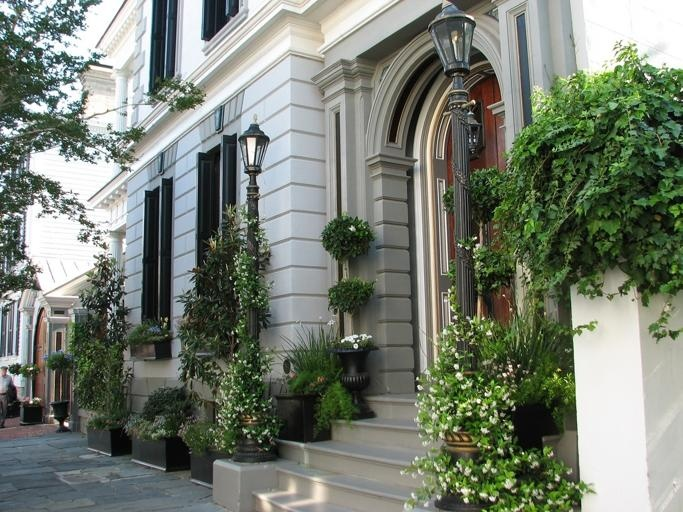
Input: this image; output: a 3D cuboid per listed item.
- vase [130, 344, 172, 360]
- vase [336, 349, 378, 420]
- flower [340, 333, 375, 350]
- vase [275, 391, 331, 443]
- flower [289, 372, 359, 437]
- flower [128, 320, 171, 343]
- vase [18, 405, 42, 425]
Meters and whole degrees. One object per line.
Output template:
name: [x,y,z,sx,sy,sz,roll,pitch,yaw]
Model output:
vase: [-3.670,1.812,13.479,0.325,0.331,1.045,10,-16,-41]
vase: [0.181,1.623,9.080,0.561,0.840,0.641,-5,-14,-9]
flower: [0.193,1.103,9.008,0.442,0.196,0.215,-1,-12,1]
vase: [-0.523,2.105,9.168,0.420,0.590,0.735,0,-6,-33]
flower: [-0.232,1.870,8.974,0.938,0.821,0.329,-8,-13,32]
flower: [-3.699,1.468,13.543,0.548,0.356,0.688,0,-3,-39]
vase: [-9.103,4.579,20.459,0.525,0.573,0.549,0,-4,-20]
